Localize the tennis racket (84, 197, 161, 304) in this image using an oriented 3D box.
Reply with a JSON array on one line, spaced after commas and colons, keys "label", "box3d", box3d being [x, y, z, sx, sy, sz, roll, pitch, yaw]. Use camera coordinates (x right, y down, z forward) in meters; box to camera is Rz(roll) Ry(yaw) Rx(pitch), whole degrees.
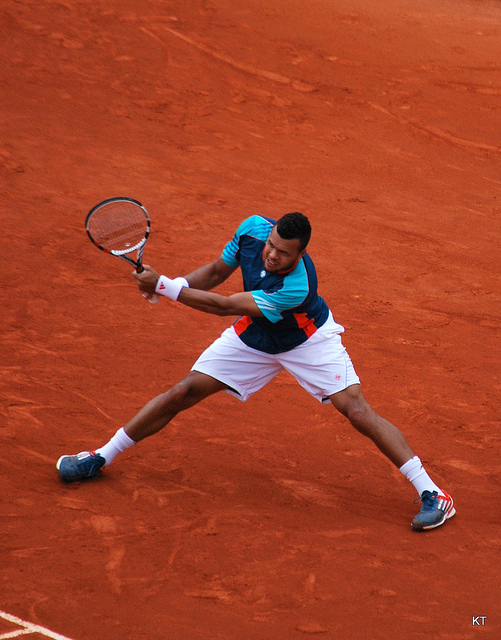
[{"label": "tennis racket", "box3d": [-0.786, -0.496, 4.103, 0.356, 0.322, 0.511, 0, 39, -10]}]
